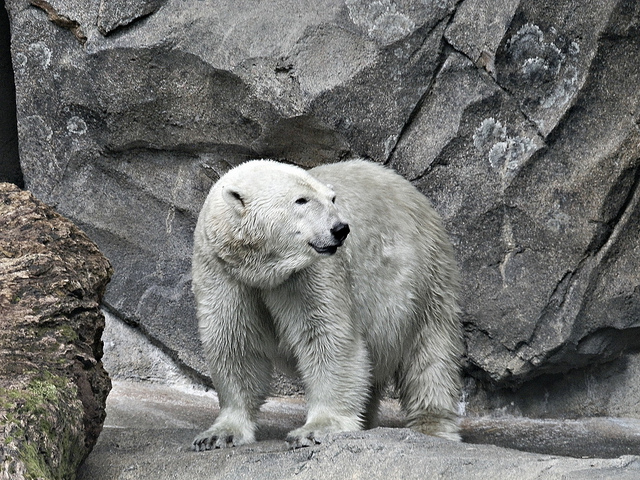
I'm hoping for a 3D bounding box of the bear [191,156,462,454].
[{"bbox_3d":[0.004,0.459,8.504,1.202,1.941,2.238,1,1,36],"label":"bear"}]
